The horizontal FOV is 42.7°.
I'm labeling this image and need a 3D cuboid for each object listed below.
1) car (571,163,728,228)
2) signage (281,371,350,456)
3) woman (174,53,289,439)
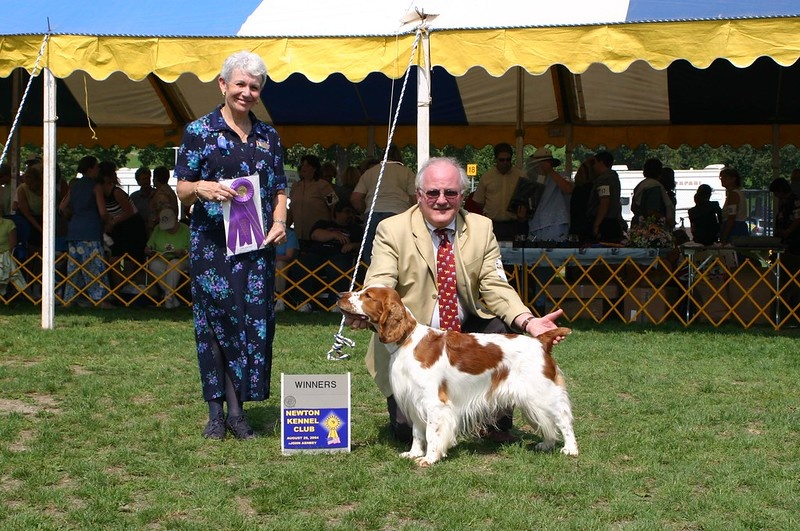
[{"bbox_3d":[9.776,-2.139,38.067,2.852,3.149,5.110,-9,7,-40],"label":"car"},{"bbox_3d":[-0.803,1.427,9.712,0.738,0.817,0.054,-1,-2,-5],"label":"signage"},{"bbox_3d":[-1.557,-0.209,9.971,1.148,3.697,1.181,-1,0,-41],"label":"woman"}]
